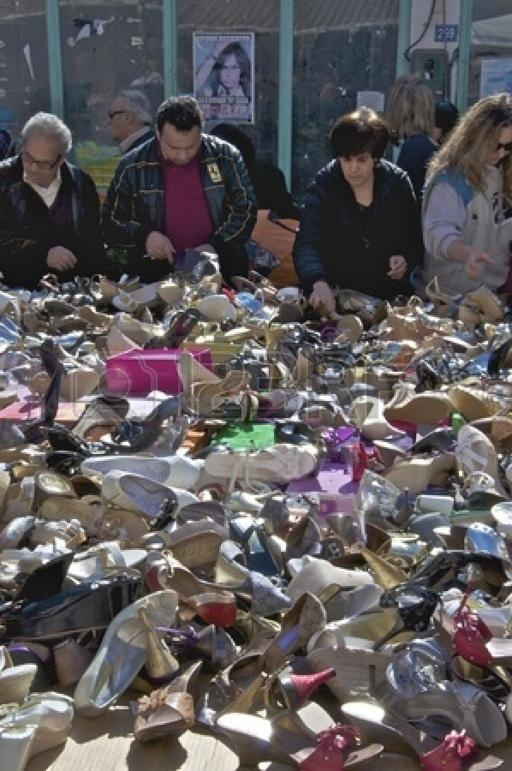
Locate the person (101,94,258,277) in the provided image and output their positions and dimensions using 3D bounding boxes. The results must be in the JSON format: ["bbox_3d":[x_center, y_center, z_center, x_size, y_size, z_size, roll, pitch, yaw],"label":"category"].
[{"bbox_3d":[-0.350,-0.849,3.096,0.710,0.763,0.402,-1,13,-6],"label":"person"}]

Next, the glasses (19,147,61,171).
[{"bbox_3d":[-0.954,-1.001,3.087,0.153,0.078,0.068,-4,13,-17],"label":"glasses"}]

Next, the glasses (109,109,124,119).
[{"bbox_3d":[-0.718,-1.379,3.545,0.068,0.020,0.065,4,30,-9],"label":"glasses"}]
